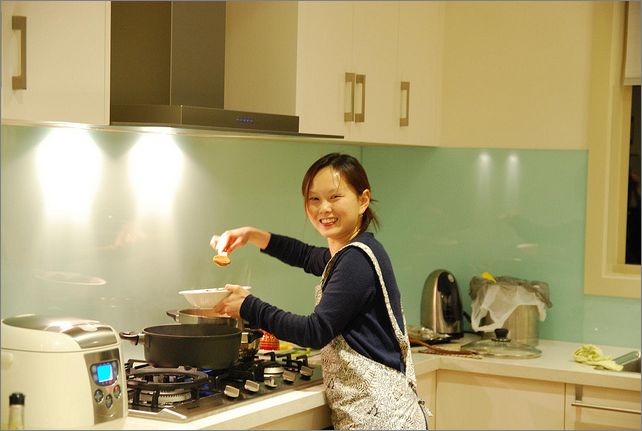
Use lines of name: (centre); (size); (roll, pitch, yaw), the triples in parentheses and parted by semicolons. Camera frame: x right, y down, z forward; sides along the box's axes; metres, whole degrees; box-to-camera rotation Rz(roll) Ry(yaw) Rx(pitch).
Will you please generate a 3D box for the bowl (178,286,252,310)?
bowl: (-0.429, 0.295, 1.822); (0.153, 0.049, 0.164); (-3, -4, 0)
